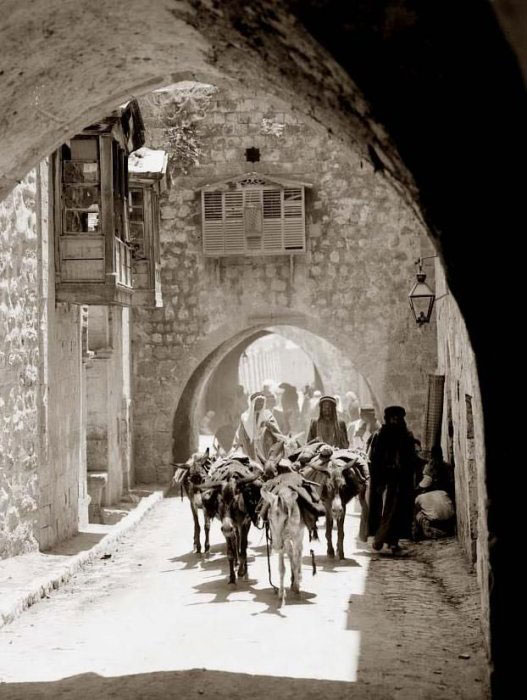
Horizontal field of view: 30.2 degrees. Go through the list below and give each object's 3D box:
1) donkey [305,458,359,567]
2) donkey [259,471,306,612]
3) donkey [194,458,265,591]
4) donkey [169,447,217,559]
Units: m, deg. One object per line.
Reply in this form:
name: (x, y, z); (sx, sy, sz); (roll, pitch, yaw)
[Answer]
donkey: (0.711, 1.605, 9.899); (0.605, 1.063, 1.502); (0, -2, 6)
donkey: (0.156, 1.531, 7.919); (0.345, 0.958, 0.591); (0, -2, 0)
donkey: (-0.248, 1.492, 8.551); (0.452, 0.893, 1.105); (0, -3, 2)
donkey: (-0.761, 1.613, 11.004); (0.380, 1.246, 1.508); (-7, 10, -5)
